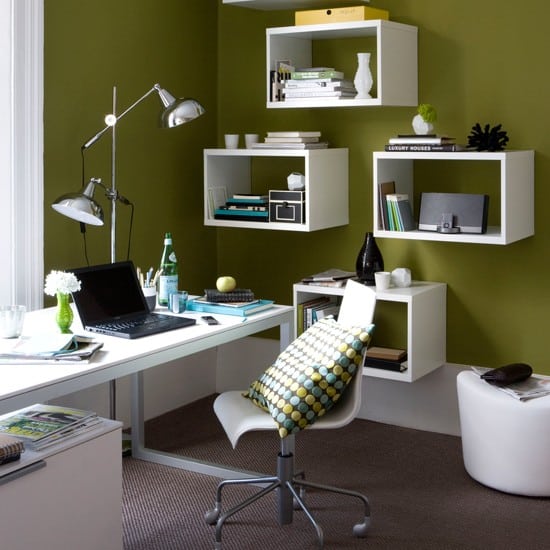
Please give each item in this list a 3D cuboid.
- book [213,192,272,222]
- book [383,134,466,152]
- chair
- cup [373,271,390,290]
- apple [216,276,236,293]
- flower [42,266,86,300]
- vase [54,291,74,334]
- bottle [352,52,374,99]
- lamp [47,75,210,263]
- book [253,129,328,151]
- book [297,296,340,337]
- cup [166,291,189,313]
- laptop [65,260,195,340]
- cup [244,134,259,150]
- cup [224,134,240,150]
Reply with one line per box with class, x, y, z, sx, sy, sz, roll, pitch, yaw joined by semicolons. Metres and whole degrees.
book;-0.187;-0.383;3.068;0.361;0.157;0.089;2;4;27
book;0.714;-0.629;2.535;0.368;0.099;0.106;2;4;23
chair;0.069;0.450;2.267;0.675;1.266;0.789;2;1;-14
cup;0.546;0.028;2.697;0.070;0.090;0.073;3;5;0
apple;-0.227;0.037;2.386;0.065;0.080;0.076;1;4;-2
flower;-0.749;0.031;1.908;0.099;0.127;0.103;1;-1;44
vase;-0.740;0.133;1.873;0.055;0.147;0.209;-1;4;-23
bottle;0.452;-1.021;2.727;0.093;0.253;0.125;1;3;9
lamp;-0.711;-0.496;2.419;0.577;0.911;0.862;-2;4;-27
book;0.073;-0.728;2.880;0.415;0.120;0.191;1;4;7
book;0.230;0.211;3.000;0.243;0.198;0.291;-7;4;-6
cup;-0.408;0.118;2.282;0.078;0.099;0.064;3;3;20
laptop;-0.561;0.105;2.060;0.283;0.241;0.332;5;5;26
cup;-0.132;-0.767;3.035;0.077;0.104;0.085;-1;4;0
cup;-0.247;-0.769;3.095;0.076;0.076;0.079;1;3;0
